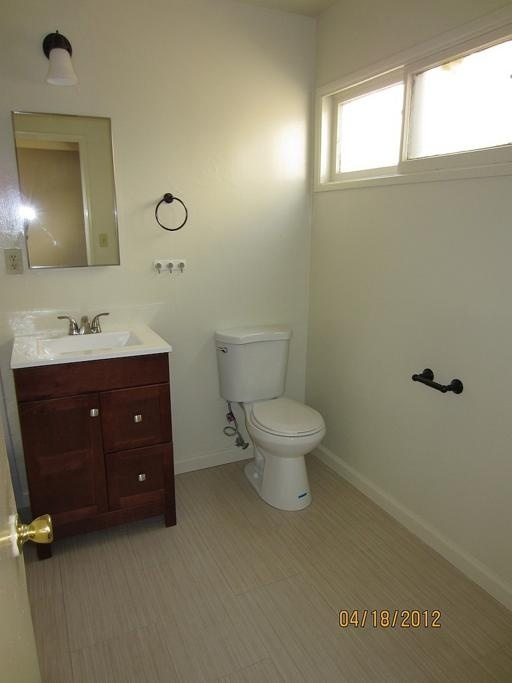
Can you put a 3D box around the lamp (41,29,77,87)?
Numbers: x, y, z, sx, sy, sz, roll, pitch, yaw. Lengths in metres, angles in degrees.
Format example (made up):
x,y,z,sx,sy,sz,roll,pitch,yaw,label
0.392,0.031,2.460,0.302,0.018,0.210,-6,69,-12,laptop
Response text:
x,y,z,sx,sy,sz,roll,pitch,yaw,label
-0.712,-1.021,1.693,0.087,0.205,0.082,0,-14,-36,lamp

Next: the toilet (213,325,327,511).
x,y,z,sx,sy,sz,roll,pitch,yaw,label
0.067,0.374,2.417,0.406,0.796,0.699,-5,12,-21,toilet

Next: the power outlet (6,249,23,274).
x,y,z,sx,sy,sz,roll,pitch,yaw,label
-1.052,-0.356,2.029,0.084,0.137,0.009,-6,14,-34,power outlet
